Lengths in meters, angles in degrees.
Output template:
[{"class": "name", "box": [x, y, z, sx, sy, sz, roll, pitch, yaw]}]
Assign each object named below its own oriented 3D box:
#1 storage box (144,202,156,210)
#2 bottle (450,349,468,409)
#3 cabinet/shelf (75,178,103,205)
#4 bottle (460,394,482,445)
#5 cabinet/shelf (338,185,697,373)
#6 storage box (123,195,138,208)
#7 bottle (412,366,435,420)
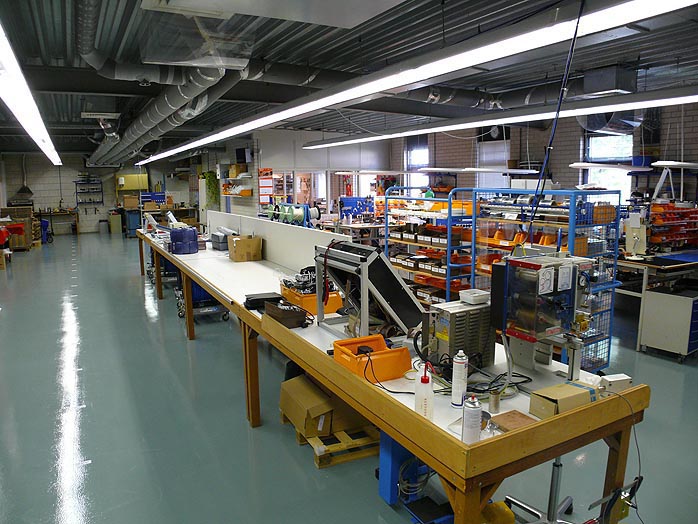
[{"class": "storage box", "box": [-7.144, -1.963, 17.810, 0.292, 0.175, 0.280, -3, 4, -38]}, {"class": "bottle", "box": [0.638, 0.667, 2.877, 0.079, 0.334, 0.121, 1, 10, 8]}, {"class": "cabinet/shelf", "box": [-10.308, -2.739, 19.560, 1.067, 1.114, 0.335, -2, 6, -36]}, {"class": "bottle", "box": [0.669, 0.818, 2.627, 0.206, 0.230, 0.093, -10, 13, -44]}, {"class": "cabinet/shelf", "box": [1.871, 0.164, 4.950, 0.756, 1.281, 2.347, -2, 4, -31]}, {"class": "storage box", "box": [-8.234, -2.228, 18.783, 0.566, 0.526, 0.557, -2, 5, -25]}, {"class": "bottle", "box": [0.431, 0.728, 2.859, 0.108, 0.279, 0.226, 1, 10, 8]}]
